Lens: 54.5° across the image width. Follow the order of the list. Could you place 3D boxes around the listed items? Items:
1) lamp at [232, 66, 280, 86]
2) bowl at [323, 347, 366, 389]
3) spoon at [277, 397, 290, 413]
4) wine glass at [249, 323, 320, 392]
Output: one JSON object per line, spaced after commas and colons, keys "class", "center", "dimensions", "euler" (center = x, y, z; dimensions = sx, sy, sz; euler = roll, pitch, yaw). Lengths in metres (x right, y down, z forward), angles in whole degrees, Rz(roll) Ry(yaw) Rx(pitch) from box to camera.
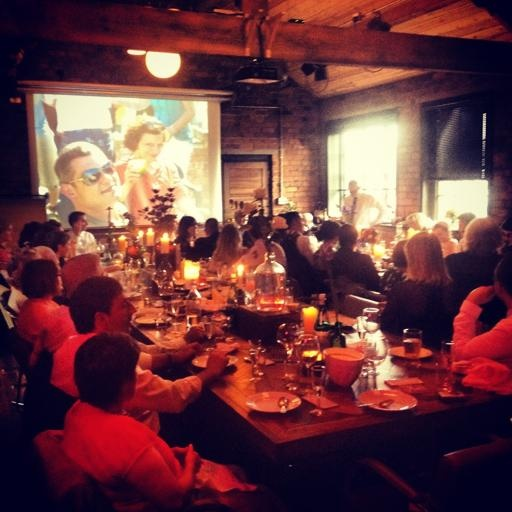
{"class": "lamp", "center": [-0.048, -2.018, 5.637], "dimensions": [0.362, 0.117, 0.341], "euler": [-2, 4, -27]}
{"class": "bowl", "center": [0.330, 0.425, 1.872], "dimensions": [0.162, 0.110, 0.166], "euler": [3, 7, 0]}
{"class": "spoon", "center": [0.090, 0.487, 1.621], "dimensions": [0.024, 0.010, 0.072], "euler": [2, 24, 3]}
{"class": "wine glass", "center": [0.170, 0.397, 2.048], "dimensions": [0.235, 0.307, 0.211], "euler": [4, 6, 34]}
